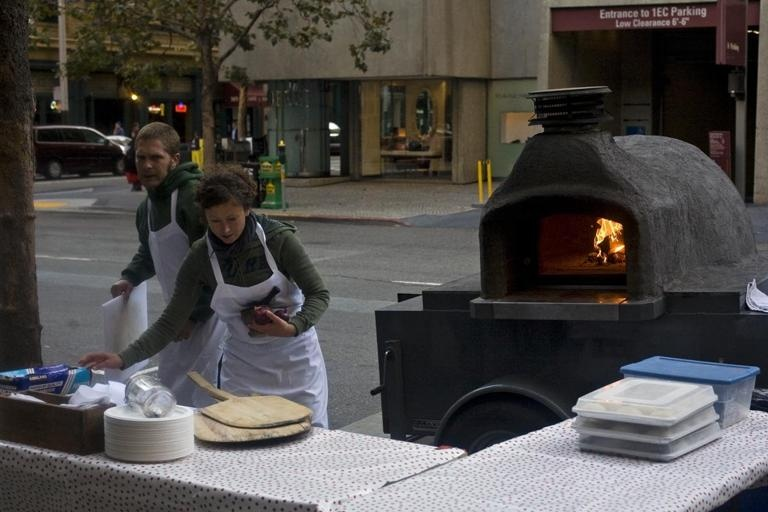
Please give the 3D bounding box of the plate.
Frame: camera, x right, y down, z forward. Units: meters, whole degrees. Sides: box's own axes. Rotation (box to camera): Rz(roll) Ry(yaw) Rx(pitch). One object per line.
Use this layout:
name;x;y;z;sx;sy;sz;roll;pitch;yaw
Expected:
plate;-1.089;0.808;3.929;0.323;0.254;0.310;-5;-3;31

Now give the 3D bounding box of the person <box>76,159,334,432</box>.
person;-0.845;0.258;5.010;0.762;1.946;1.028;0;1;-12

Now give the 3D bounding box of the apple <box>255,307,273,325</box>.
apple;-0.681;0.337;4.713;0.085;0.085;0.091;0;3;-19

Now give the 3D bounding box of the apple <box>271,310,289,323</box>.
apple;-0.588;0.337;4.748;0.077;0.079;0.058;-4;-3;2
